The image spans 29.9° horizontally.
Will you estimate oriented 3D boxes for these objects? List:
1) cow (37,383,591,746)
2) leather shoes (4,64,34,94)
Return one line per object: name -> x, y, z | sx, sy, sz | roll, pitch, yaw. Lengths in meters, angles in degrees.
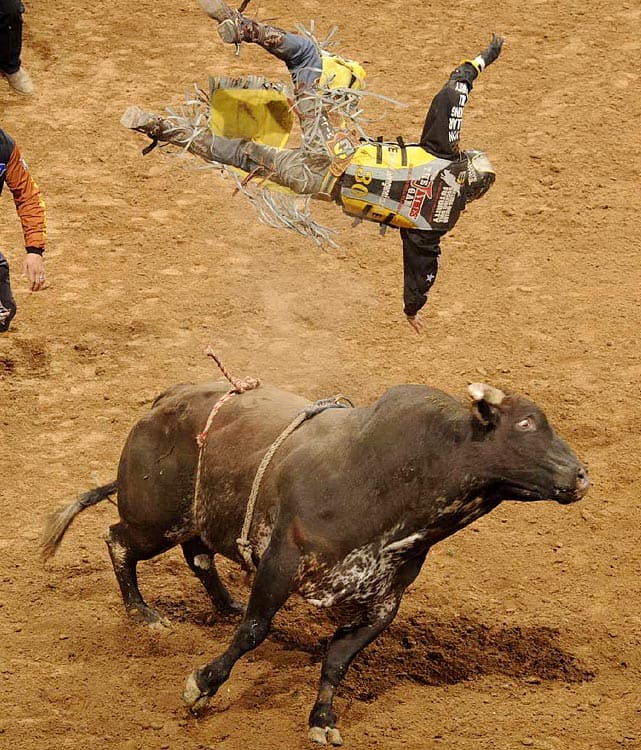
cow -> -0.038, 0.663, 5.361 | 1.028, 1.963, 1.691 | -8, 41, -32
leather shoes -> -2.692, -2.594, 10.772 | 0.351, 0.135, 0.138 | 34, 69, 0
